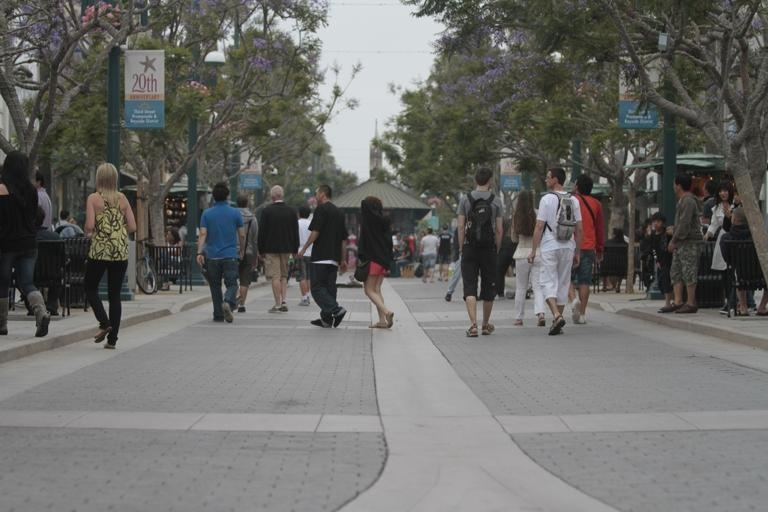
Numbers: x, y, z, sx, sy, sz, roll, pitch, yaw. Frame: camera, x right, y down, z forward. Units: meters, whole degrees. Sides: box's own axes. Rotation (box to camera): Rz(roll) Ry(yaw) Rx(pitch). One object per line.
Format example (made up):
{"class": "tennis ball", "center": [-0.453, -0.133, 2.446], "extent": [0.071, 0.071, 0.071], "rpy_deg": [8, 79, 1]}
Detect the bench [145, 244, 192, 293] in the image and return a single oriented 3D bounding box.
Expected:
{"class": "bench", "center": [-5.301, 0.254, 23.043], "extent": [1.349, 0.915, 0.750], "rpy_deg": [-1, 0, 25]}

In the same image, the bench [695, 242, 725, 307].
{"class": "bench", "center": [6.124, 0.398, 16.550], "extent": [0.786, 1.202, 0.844], "rpy_deg": [5, -1, 18]}

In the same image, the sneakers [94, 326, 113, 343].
{"class": "sneakers", "center": [-3.975, 1.123, 12.805], "extent": [0.116, 0.283, 0.103], "rpy_deg": [34, 12, 9]}

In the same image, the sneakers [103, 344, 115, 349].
{"class": "sneakers", "center": [-3.824, 1.271, 12.594], "extent": [0.131, 0.058, 0.063], "rpy_deg": [5, 5, 41]}

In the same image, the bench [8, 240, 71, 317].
{"class": "bench", "center": [-5.404, 0.308, 14.165], "extent": [0.915, 1.129, 0.958], "rpy_deg": [2, -1, -31]}

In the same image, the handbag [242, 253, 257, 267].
{"class": "handbag", "center": [-2.699, 0.076, 18.300], "extent": [0.197, 0.394, 0.279], "rpy_deg": [-3, -3, 41]}

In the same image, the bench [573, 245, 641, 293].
{"class": "bench", "center": [5.041, 0.282, 20.249], "extent": [1.011, 1.464, 1.049], "rpy_deg": [0, 11, 1]}
